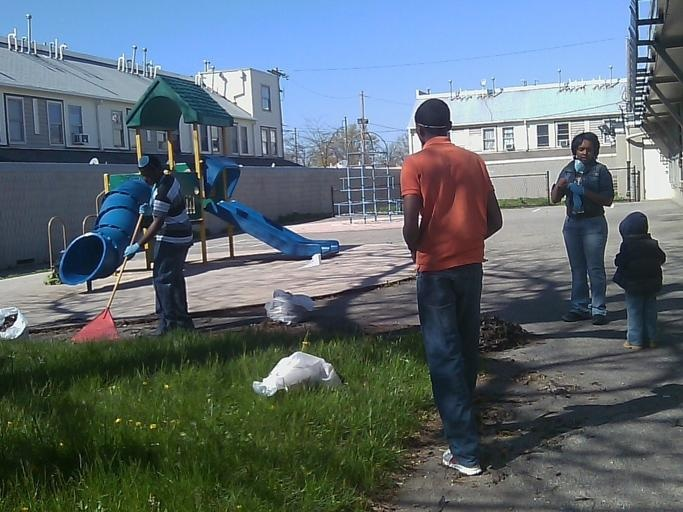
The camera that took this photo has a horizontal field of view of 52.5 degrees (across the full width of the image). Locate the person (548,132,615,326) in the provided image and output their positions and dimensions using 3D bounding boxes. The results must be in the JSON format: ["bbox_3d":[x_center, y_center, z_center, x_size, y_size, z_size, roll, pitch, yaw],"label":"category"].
[{"bbox_3d":[2.778,-0.312,7.934,0.684,2.157,0.749,6,14,31],"label":"person"}]

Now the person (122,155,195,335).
[{"bbox_3d":[-2.019,-0.134,8.093,0.756,2.094,0.802,7,10,-19],"label":"person"}]

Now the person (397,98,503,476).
[{"bbox_3d":[0.827,0.159,5.105,0.637,2.606,0.854,-2,1,19],"label":"person"}]

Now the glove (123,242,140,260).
[{"bbox_3d":[-3.002,-0.075,9.846,0.105,0.235,0.174,36,2,17],"label":"glove"}]

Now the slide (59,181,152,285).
[{"bbox_3d":[-4.463,-0.427,13.040,0.833,1.124,3.209,33,24,-10],"label":"slide"}]

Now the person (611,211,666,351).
[{"bbox_3d":[2.902,0.250,6.793,0.439,1.307,0.422,4,13,25],"label":"person"}]

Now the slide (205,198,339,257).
[{"bbox_3d":[-1.606,-0.585,15.386,2.841,1.035,1.338,9,5,23],"label":"slide"}]
